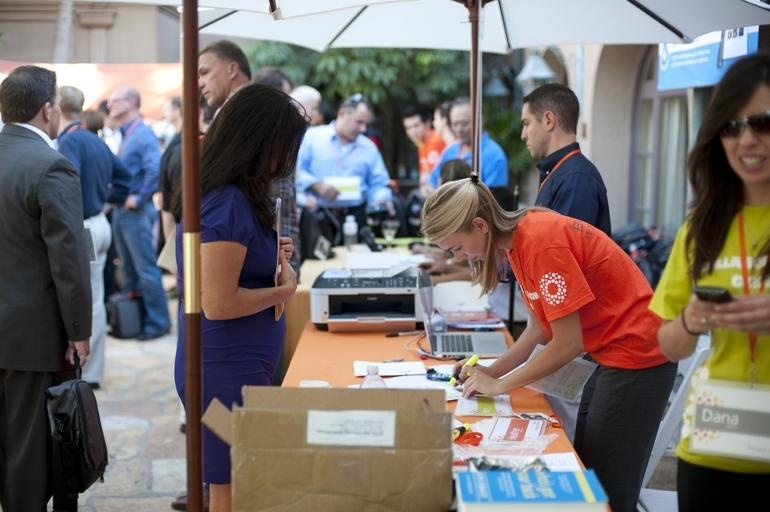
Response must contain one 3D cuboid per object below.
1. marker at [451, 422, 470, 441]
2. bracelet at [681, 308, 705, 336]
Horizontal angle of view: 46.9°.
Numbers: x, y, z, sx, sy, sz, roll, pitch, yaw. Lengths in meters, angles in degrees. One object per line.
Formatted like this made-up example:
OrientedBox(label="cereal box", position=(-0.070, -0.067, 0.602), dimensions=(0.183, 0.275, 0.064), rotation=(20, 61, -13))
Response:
OrientedBox(label="marker", position=(0.326, 0.763, 3.875), dimensions=(0.067, 0.055, 0.116), rotation=(-4, 5, -10))
OrientedBox(label="bracelet", position=(1.257, 0.275, 3.624), dimensions=(0.087, 0.098, 0.022), rotation=(-11, -8, -2))
